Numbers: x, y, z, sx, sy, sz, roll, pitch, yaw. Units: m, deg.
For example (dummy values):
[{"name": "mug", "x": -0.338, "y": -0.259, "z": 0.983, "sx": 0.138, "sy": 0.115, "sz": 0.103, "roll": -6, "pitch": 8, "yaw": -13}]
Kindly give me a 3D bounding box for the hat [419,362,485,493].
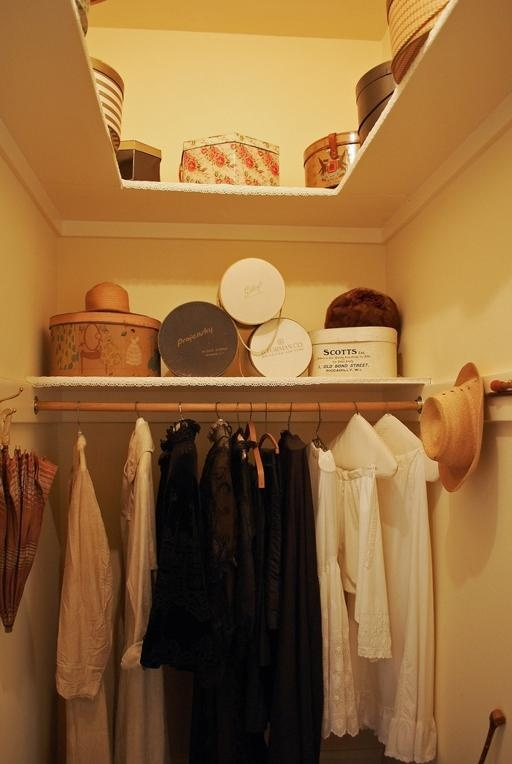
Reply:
[{"name": "hat", "x": 0.403, "y": 0.096, "z": 1.267, "sx": 0.064, "sy": 0.246, "sz": 0.173, "roll": 1, "pitch": -5, "yaw": -4}]
